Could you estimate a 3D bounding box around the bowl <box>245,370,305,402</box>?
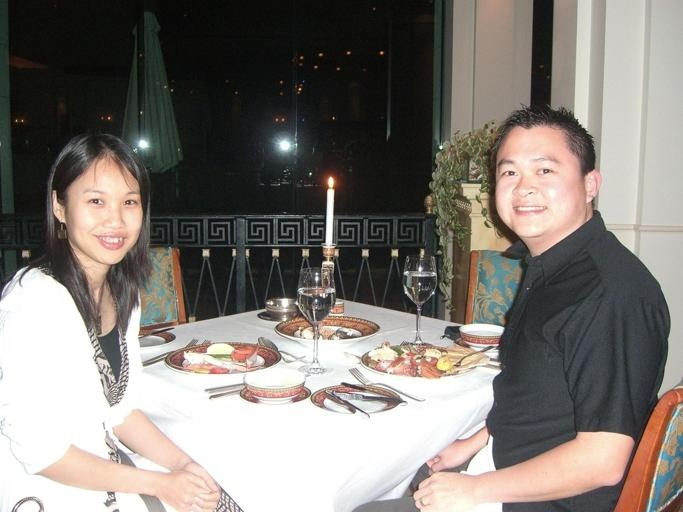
[{"bbox_3d":[-0.209,0.421,1.699,0.165,0.062,0.173,2,1,0],"label":"bowl"}]
